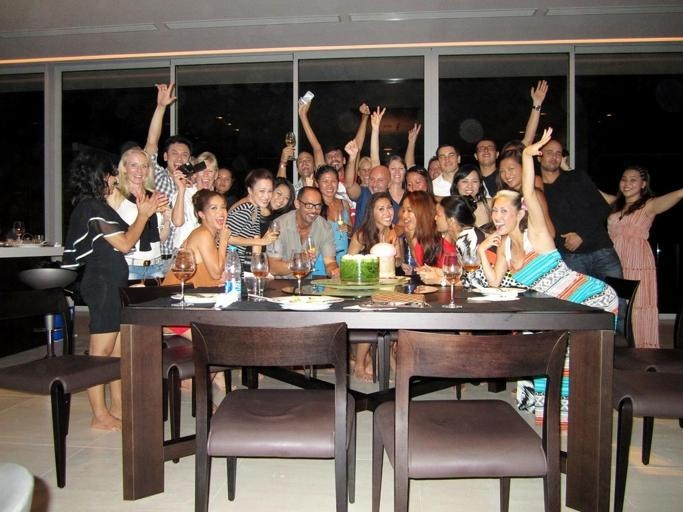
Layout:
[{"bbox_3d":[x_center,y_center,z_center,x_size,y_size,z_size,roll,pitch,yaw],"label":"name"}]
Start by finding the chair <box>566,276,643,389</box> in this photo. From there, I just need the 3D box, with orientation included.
[{"bbox_3d":[1.865,0.374,3.758,0.484,0.665,0.392,0,0,-7],"label":"chair"}]

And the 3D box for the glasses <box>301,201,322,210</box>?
[{"bbox_3d":[-0.217,-0.370,4.146,0.138,0.053,0.050,1,6,-5],"label":"glasses"}]

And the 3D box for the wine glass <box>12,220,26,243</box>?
[{"bbox_3d":[-3.105,-0.228,5.434,0.100,0.185,0.378,-2,7,-32],"label":"wine glass"}]

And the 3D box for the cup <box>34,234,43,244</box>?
[{"bbox_3d":[-3.113,-0.171,5.817,0.076,0.074,0.137,-1,-1,-28],"label":"cup"}]
